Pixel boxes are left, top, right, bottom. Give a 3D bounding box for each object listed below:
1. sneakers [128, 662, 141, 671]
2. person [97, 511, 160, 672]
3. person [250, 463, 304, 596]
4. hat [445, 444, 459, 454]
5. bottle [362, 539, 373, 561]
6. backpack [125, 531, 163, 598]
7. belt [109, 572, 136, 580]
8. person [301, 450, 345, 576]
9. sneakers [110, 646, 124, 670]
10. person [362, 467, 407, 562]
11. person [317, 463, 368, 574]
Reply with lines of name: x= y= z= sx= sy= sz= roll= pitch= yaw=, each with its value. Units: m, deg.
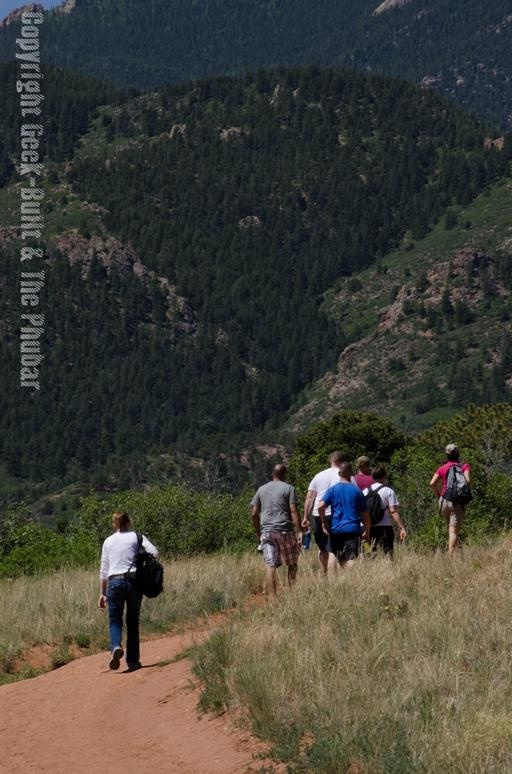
sneakers: x=-1.311 y=2.992 z=14.573 sx=0.110 sy=0.146 sz=0.074 roll=-8 pitch=-9 yaw=33
person: x=-1.380 y=2.225 z=14.778 sx=0.645 sy=1.648 sz=0.678 roll=-2 pitch=1 yaw=-9
person: x=0.242 y=1.640 z=16.050 sx=0.581 sy=1.372 sz=0.736 roll=-2 pitch=1 yaw=1
hat: x=2.451 y=0.716 z=17.058 sx=0.110 sy=0.150 sz=0.168 roll=-6 pitch=-20 yaw=-8
bottle: x=1.301 y=1.874 z=15.684 sx=0.135 sy=0.305 sz=0.156 roll=1 pitch=-7 yaw=-6
backpack: x=-1.165 y=2.033 z=14.891 sx=0.475 sy=0.661 sz=0.351 roll=0 pitch=-4 yaw=6
belt: x=-1.447 y=2.025 z=14.643 sx=0.265 sy=0.091 sz=0.056 roll=-3 pitch=1 yaw=7
person: x=0.875 y=1.511 z=16.671 sx=0.549 sy=2.009 sz=0.561 roll=-5 pitch=34 yaw=-11
sneakers: x=-1.504 y=2.903 z=14.514 sx=0.107 sy=0.370 sz=0.149 roll=4 pitch=1 yaw=-12
person: x=1.510 y=1.666 z=16.352 sx=0.459 sy=1.562 sz=0.260 roll=-1 pitch=14 yaw=16
person: x=1.014 y=1.536 z=15.783 sx=0.414 sy=1.652 sz=0.457 roll=5 pitch=23 yaw=12
